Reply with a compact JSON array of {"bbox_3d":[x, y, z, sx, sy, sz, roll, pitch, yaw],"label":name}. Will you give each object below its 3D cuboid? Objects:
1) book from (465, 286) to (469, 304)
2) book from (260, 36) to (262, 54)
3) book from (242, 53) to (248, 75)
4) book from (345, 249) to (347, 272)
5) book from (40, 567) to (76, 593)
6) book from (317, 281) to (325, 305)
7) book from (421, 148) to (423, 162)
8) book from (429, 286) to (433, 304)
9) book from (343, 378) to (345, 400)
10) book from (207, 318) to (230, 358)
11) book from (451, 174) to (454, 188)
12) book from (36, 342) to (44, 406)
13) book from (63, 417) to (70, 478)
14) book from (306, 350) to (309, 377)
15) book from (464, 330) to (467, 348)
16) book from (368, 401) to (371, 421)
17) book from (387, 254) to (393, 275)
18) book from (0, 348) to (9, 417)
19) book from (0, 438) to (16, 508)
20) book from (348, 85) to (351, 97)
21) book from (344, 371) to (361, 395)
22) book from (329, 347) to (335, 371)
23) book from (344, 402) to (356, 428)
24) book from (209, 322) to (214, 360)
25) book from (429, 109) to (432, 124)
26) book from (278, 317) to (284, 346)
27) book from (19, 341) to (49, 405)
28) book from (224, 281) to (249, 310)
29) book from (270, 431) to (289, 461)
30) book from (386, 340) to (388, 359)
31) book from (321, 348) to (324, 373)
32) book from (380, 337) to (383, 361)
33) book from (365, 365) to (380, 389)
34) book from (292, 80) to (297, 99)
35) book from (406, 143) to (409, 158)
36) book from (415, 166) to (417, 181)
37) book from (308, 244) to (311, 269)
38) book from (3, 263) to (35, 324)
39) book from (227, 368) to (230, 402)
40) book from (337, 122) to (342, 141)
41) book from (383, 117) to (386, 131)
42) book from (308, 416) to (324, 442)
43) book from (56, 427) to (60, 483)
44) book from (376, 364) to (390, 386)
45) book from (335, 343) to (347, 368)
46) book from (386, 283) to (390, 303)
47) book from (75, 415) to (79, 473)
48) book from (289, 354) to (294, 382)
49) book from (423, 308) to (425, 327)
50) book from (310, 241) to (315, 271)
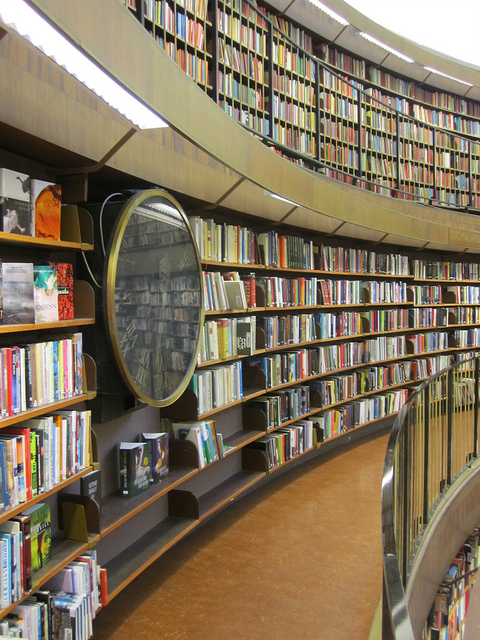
[{"bbox_3d":[3.273,-0.360,7.432,0.028,0.251,0.086,1,0,45],"label":"book"},{"bbox_3d":[0.220,-3.005,5.631,0.015,0.151,0.048,1,0,29],"label":"book"},{"bbox_3d":[0.041,-2.678,5.392,0.020,0.169,0.071,1,0,37],"label":"book"},{"bbox_3d":[1.073,-0.610,5.268,0.016,0.195,0.061,1,0,31],"label":"book"},{"bbox_3d":[-0.657,0.923,1.834,0.156,0.100,0.049,1,0,35],"label":"book"},{"bbox_3d":[0.735,-0.251,4.769,0.101,0.201,0.197,-2,4,-5],"label":"book"},{"bbox_3d":[2.811,-2.559,8.011,0.030,0.206,0.028,0,0,-22],"label":"book"},{"bbox_3d":[2.551,-0.330,6.892,0.025,0.226,0.076,1,0,41],"label":"book"},{"bbox_3d":[1.006,0.678,5.036,0.009,0.169,0.032,1,0,34],"label":"book"},{"bbox_3d":[-0.113,0.114,3.360,0.130,0.249,0.241,7,-1,-10],"label":"book"},{"bbox_3d":[3.453,-2.265,8.405,0.059,0.213,0.014,0,0,-29],"label":"book"},{"bbox_3d":[-0.631,0.170,1.614,0.010,0.191,0.036,1,0,12],"label":"book"},{"bbox_3d":[-0.595,0.436,1.770,0.020,0.204,0.026,1,0,34],"label":"book"},{"bbox_3d":[0.587,0.380,4.538,0.022,0.198,0.064,1,0,19],"label":"book"},{"bbox_3d":[3.198,0.266,7.322,0.032,0.246,0.108,1,0,29],"label":"book"},{"bbox_3d":[1.376,0.974,5.516,0.017,0.188,0.085,1,0,30],"label":"book"},{"bbox_3d":[1.790,-0.664,6.152,0.044,0.226,0.103,1,0,14],"label":"book"},{"bbox_3d":[-0.663,0.175,1.455,0.013,0.188,0.033,0,0,-32],"label":"book"},{"bbox_3d":[-0.662,0.439,1.477,0.029,0.190,0.032,0,0,-22],"label":"book"},{"bbox_3d":[1.487,-3.119,7.059,0.040,0.141,0.074,1,0,6],"label":"book"},{"bbox_3d":[1.165,0.657,5.421,0.138,0.210,0.196,-1,4,-15],"label":"book"},{"bbox_3d":[0.860,0.373,4.893,0.033,0.270,0.191,-5,3,5],"label":"book"},{"bbox_3d":[1.127,0.974,5.272,0.101,0.224,0.073,1,0,4],"label":"book"},{"bbox_3d":[-0.177,0.125,3.084,0.015,0.159,0.080,1,0,8],"label":"book"},{"bbox_3d":[3.109,-3.306,8.444,0.035,0.225,0.090,1,0,30],"label":"book"},{"bbox_3d":[0.319,0.091,4.158,0.025,0.183,0.078,1,0,34],"label":"book"},{"bbox_3d":[-0.639,0.167,1.581,0.090,0.175,0.165,-2,4,-41],"label":"book"},{"bbox_3d":[-0.047,-0.151,3.353,0.133,0.270,0.257,-9,-2,-4],"label":"book"},{"bbox_3d":[0.268,0.990,4.142,0.198,0.218,0.152,-2,-2,40],"label":"book"},{"bbox_3d":[1.685,0.329,5.945,0.007,0.195,0.041,1,0,36],"label":"book"},{"bbox_3d":[0.745,0.371,4.732,0.020,0.192,0.045,1,0,30],"label":"book"},{"bbox_3d":[1.586,0.328,5.821,0.019,0.236,0.076,1,0,32],"label":"book"},{"bbox_3d":[1.452,0.646,5.720,0.139,0.222,0.208,0,-3,4],"label":"book"},{"bbox_3d":[0.643,-2.734,6.122,0.016,0.181,0.096,1,0,35],"label":"book"},{"bbox_3d":[2.533,-2.574,7.839,0.080,0.211,0.027,0,0,-44],"label":"book"},{"bbox_3d":[2.684,-2.243,7.898,0.024,0.211,0.063,1,0,36],"label":"book"},{"bbox_3d":[0.603,-0.554,4.539,0.008,0.179,0.055,1,0,29],"label":"book"},{"bbox_3d":[-0.659,-0.076,1.517,0.023,0.242,0.162,-2,-3,14],"label":"book"},{"bbox_3d":[-0.081,0.416,3.315,0.010,0.162,0.039,1,0,8],"label":"book"},{"bbox_3d":[1.306,-2.515,6.853,0.051,0.203,0.078,1,0,36],"label":"book"},{"bbox_3d":[2.114,-2.885,7.590,0.009,0.179,0.071,1,0,42],"label":"book"},{"bbox_3d":[0.671,0.984,4.627,0.107,0.213,0.203,-1,2,-19],"label":"book"},{"bbox_3d":[-0.610,0.448,1.713,0.011,0.181,0.029,0,0,-20],"label":"book"},{"bbox_3d":[1.636,0.625,5.907,0.152,0.237,0.226,-1,-1,1],"label":"book"},{"bbox_3d":[1.030,0.357,5.269,0.136,0.273,0.261,-1,3,0],"label":"book"},{"bbox_3d":[1.712,-0.318,5.996,0.033,0.291,0.203,-2,3,16],"label":"book"},{"bbox_3d":[-0.581,0.438,1.821,0.008,0.200,0.032,1,0,-4],"label":"book"},{"bbox_3d":[0.417,0.395,4.248,0.033,0.186,0.082,1,0,12],"label":"book"},{"bbox_3d":[2.359,-0.028,6.645,0.019,0.232,0.092,1,0,16],"label":"book"},{"bbox_3d":[0.644,-0.565,4.651,0.035,0.209,0.232,1,0,11],"label":"book"}]
